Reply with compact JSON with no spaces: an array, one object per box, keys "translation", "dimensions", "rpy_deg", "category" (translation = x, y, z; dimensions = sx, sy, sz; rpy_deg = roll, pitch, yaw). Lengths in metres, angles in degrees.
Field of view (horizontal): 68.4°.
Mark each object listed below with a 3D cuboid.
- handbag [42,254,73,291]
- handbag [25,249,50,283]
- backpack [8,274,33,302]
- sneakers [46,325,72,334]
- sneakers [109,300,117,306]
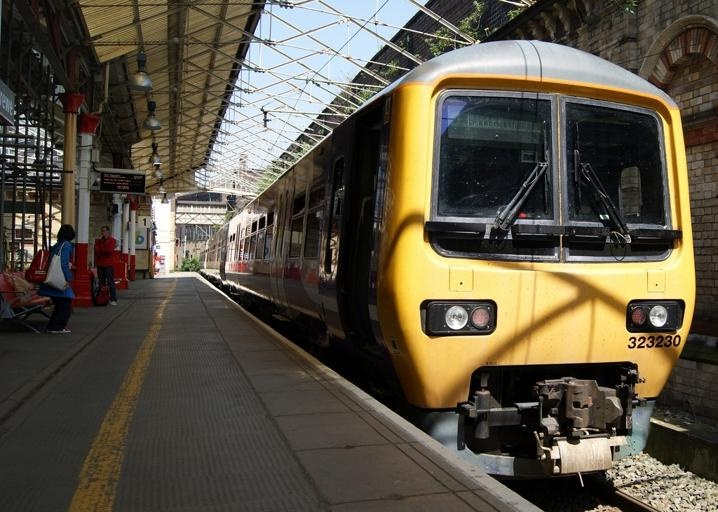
[{"translation":[-5.324,0.318,9.343],"dimensions":[0.180,0.704,0.622],"rpy_deg":[-1,-10,37],"category":"handbag"},{"translation":[-6.989,0.238,11.484],"dimensions":[0.360,0.714,0.531],"rpy_deg":[9,-7,38],"category":"handbag"},{"translation":[-6.269,0.610,9.814],"dimensions":[0.298,0.505,1.006],"rpy_deg":[-1,1,-14],"category":"backpack"},{"translation":[-5.596,1.372,9.860],"dimensions":[0.372,0.167,0.130],"rpy_deg":[-1,3,-15],"category":"sneakers"},{"translation":[-7.376,1.443,15.865],"dimensions":[0.129,0.163,0.364],"rpy_deg":[2,-5,-28],"category":"sneakers"}]
